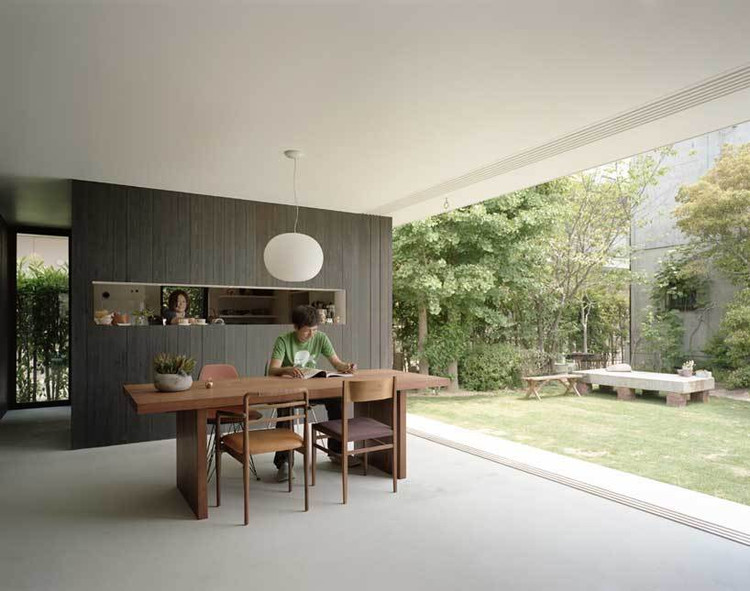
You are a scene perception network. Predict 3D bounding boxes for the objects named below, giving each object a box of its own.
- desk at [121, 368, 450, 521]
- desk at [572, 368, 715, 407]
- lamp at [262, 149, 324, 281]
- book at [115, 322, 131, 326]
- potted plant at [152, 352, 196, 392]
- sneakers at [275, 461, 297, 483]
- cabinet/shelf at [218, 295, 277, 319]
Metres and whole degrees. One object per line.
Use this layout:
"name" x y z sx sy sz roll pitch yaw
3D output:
"desk" -0.801 1.104 4.234 2.167 0.942 1.056 0 2 -28
"desk" 4.639 1.530 9.189 1.096 0.503 1.801 0 2 -35
"lamp" -0.735 -0.704 4.811 0.495 1.226 0.503 -6 -7 43
"book" -2.716 0.310 5.721 0.162 0.027 0.242 0 1 -29
"potted plant" -1.534 0.580 4.035 0.276 0.304 0.285 1 3 26
"sneakers" -0.722 1.443 4.351 0.127 0.133 0.286 5 -15 -27
"cabinet/shelf" -1.905 0.153 7.856 0.850 0.321 0.214 0 2 -13
